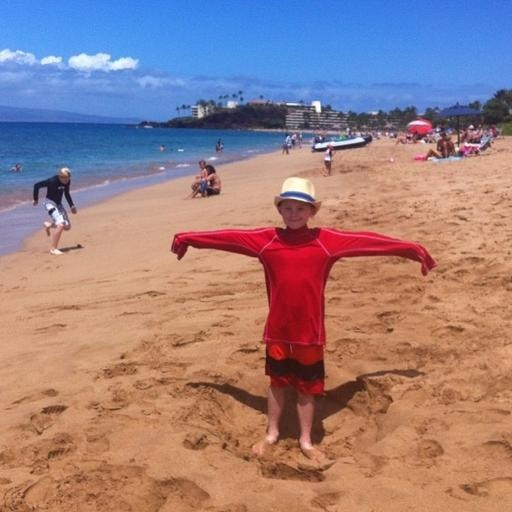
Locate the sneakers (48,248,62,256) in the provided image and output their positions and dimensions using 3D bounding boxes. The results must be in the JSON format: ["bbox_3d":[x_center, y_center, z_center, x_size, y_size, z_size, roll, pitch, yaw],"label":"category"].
[{"bbox_3d":[-3.181,-0.071,8.640,0.101,0.096,0.270,-7,7,-43],"label":"sneakers"}]

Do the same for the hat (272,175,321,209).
[{"bbox_3d":[0.259,-0.378,3.326,0.283,0.203,0.277,-3,14,2],"label":"hat"}]

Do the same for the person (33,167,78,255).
[{"bbox_3d":[-3.201,-0.727,8.718,0.611,1.345,0.781,-10,16,-18],"label":"person"}]
